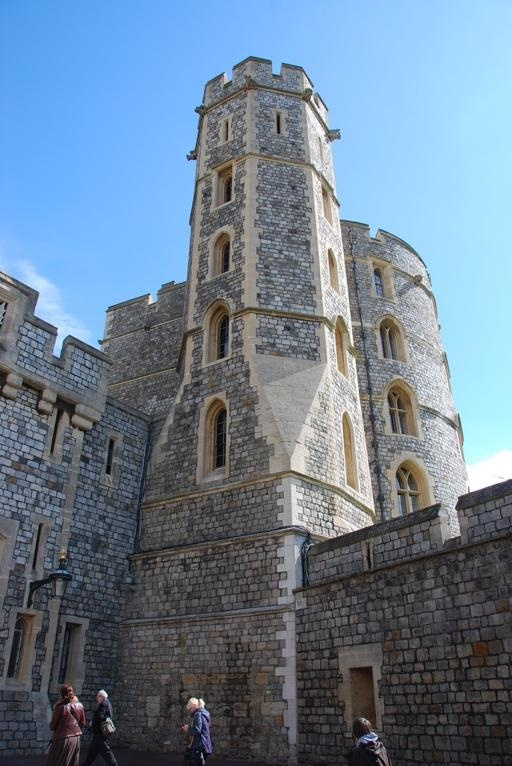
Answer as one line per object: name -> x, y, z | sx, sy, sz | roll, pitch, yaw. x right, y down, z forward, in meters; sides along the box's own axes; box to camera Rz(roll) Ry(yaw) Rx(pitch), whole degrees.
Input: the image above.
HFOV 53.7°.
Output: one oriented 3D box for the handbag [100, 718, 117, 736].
handbag -> -1.789, 4.209, 6.168 | 0.144, 0.204, 0.186 | -19, -30, 34
